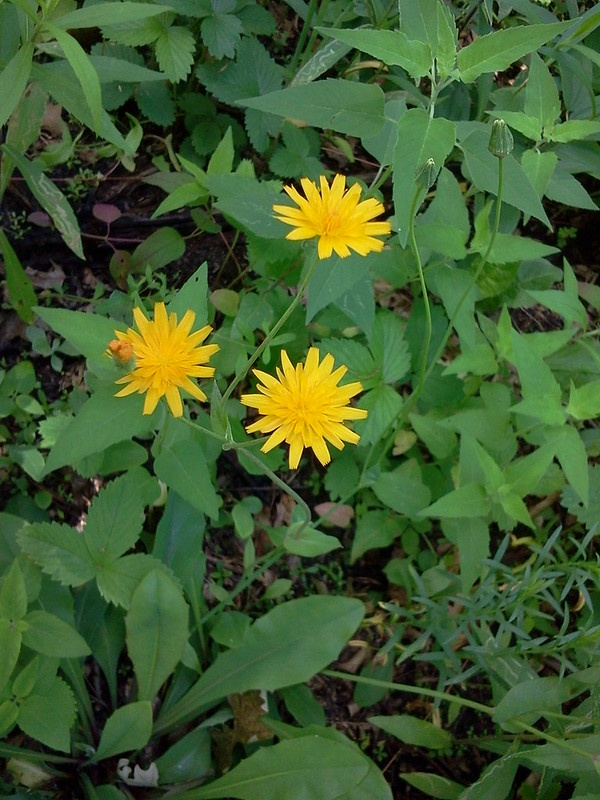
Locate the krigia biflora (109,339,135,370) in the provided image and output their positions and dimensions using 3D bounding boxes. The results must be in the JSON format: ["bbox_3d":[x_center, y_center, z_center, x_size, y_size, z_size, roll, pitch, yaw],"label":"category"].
[{"bbox_3d":[-0.327,-0.086,1.211,0.039,0.049,0.054,5,15,-17],"label":"krigia biflora"}]

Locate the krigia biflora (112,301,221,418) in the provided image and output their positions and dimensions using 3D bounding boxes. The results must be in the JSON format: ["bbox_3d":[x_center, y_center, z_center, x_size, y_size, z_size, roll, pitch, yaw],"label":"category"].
[{"bbox_3d":[-0.268,-0.063,1.293,0.190,0.207,0.183,15,44,-6],"label":"krigia biflora"}]

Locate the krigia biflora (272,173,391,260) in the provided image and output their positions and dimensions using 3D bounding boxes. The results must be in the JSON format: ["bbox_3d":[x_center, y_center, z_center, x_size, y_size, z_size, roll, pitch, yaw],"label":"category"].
[{"bbox_3d":[0.073,-0.356,1.302,0.251,0.084,0.219,-6,82,-14],"label":"krigia biflora"}]
